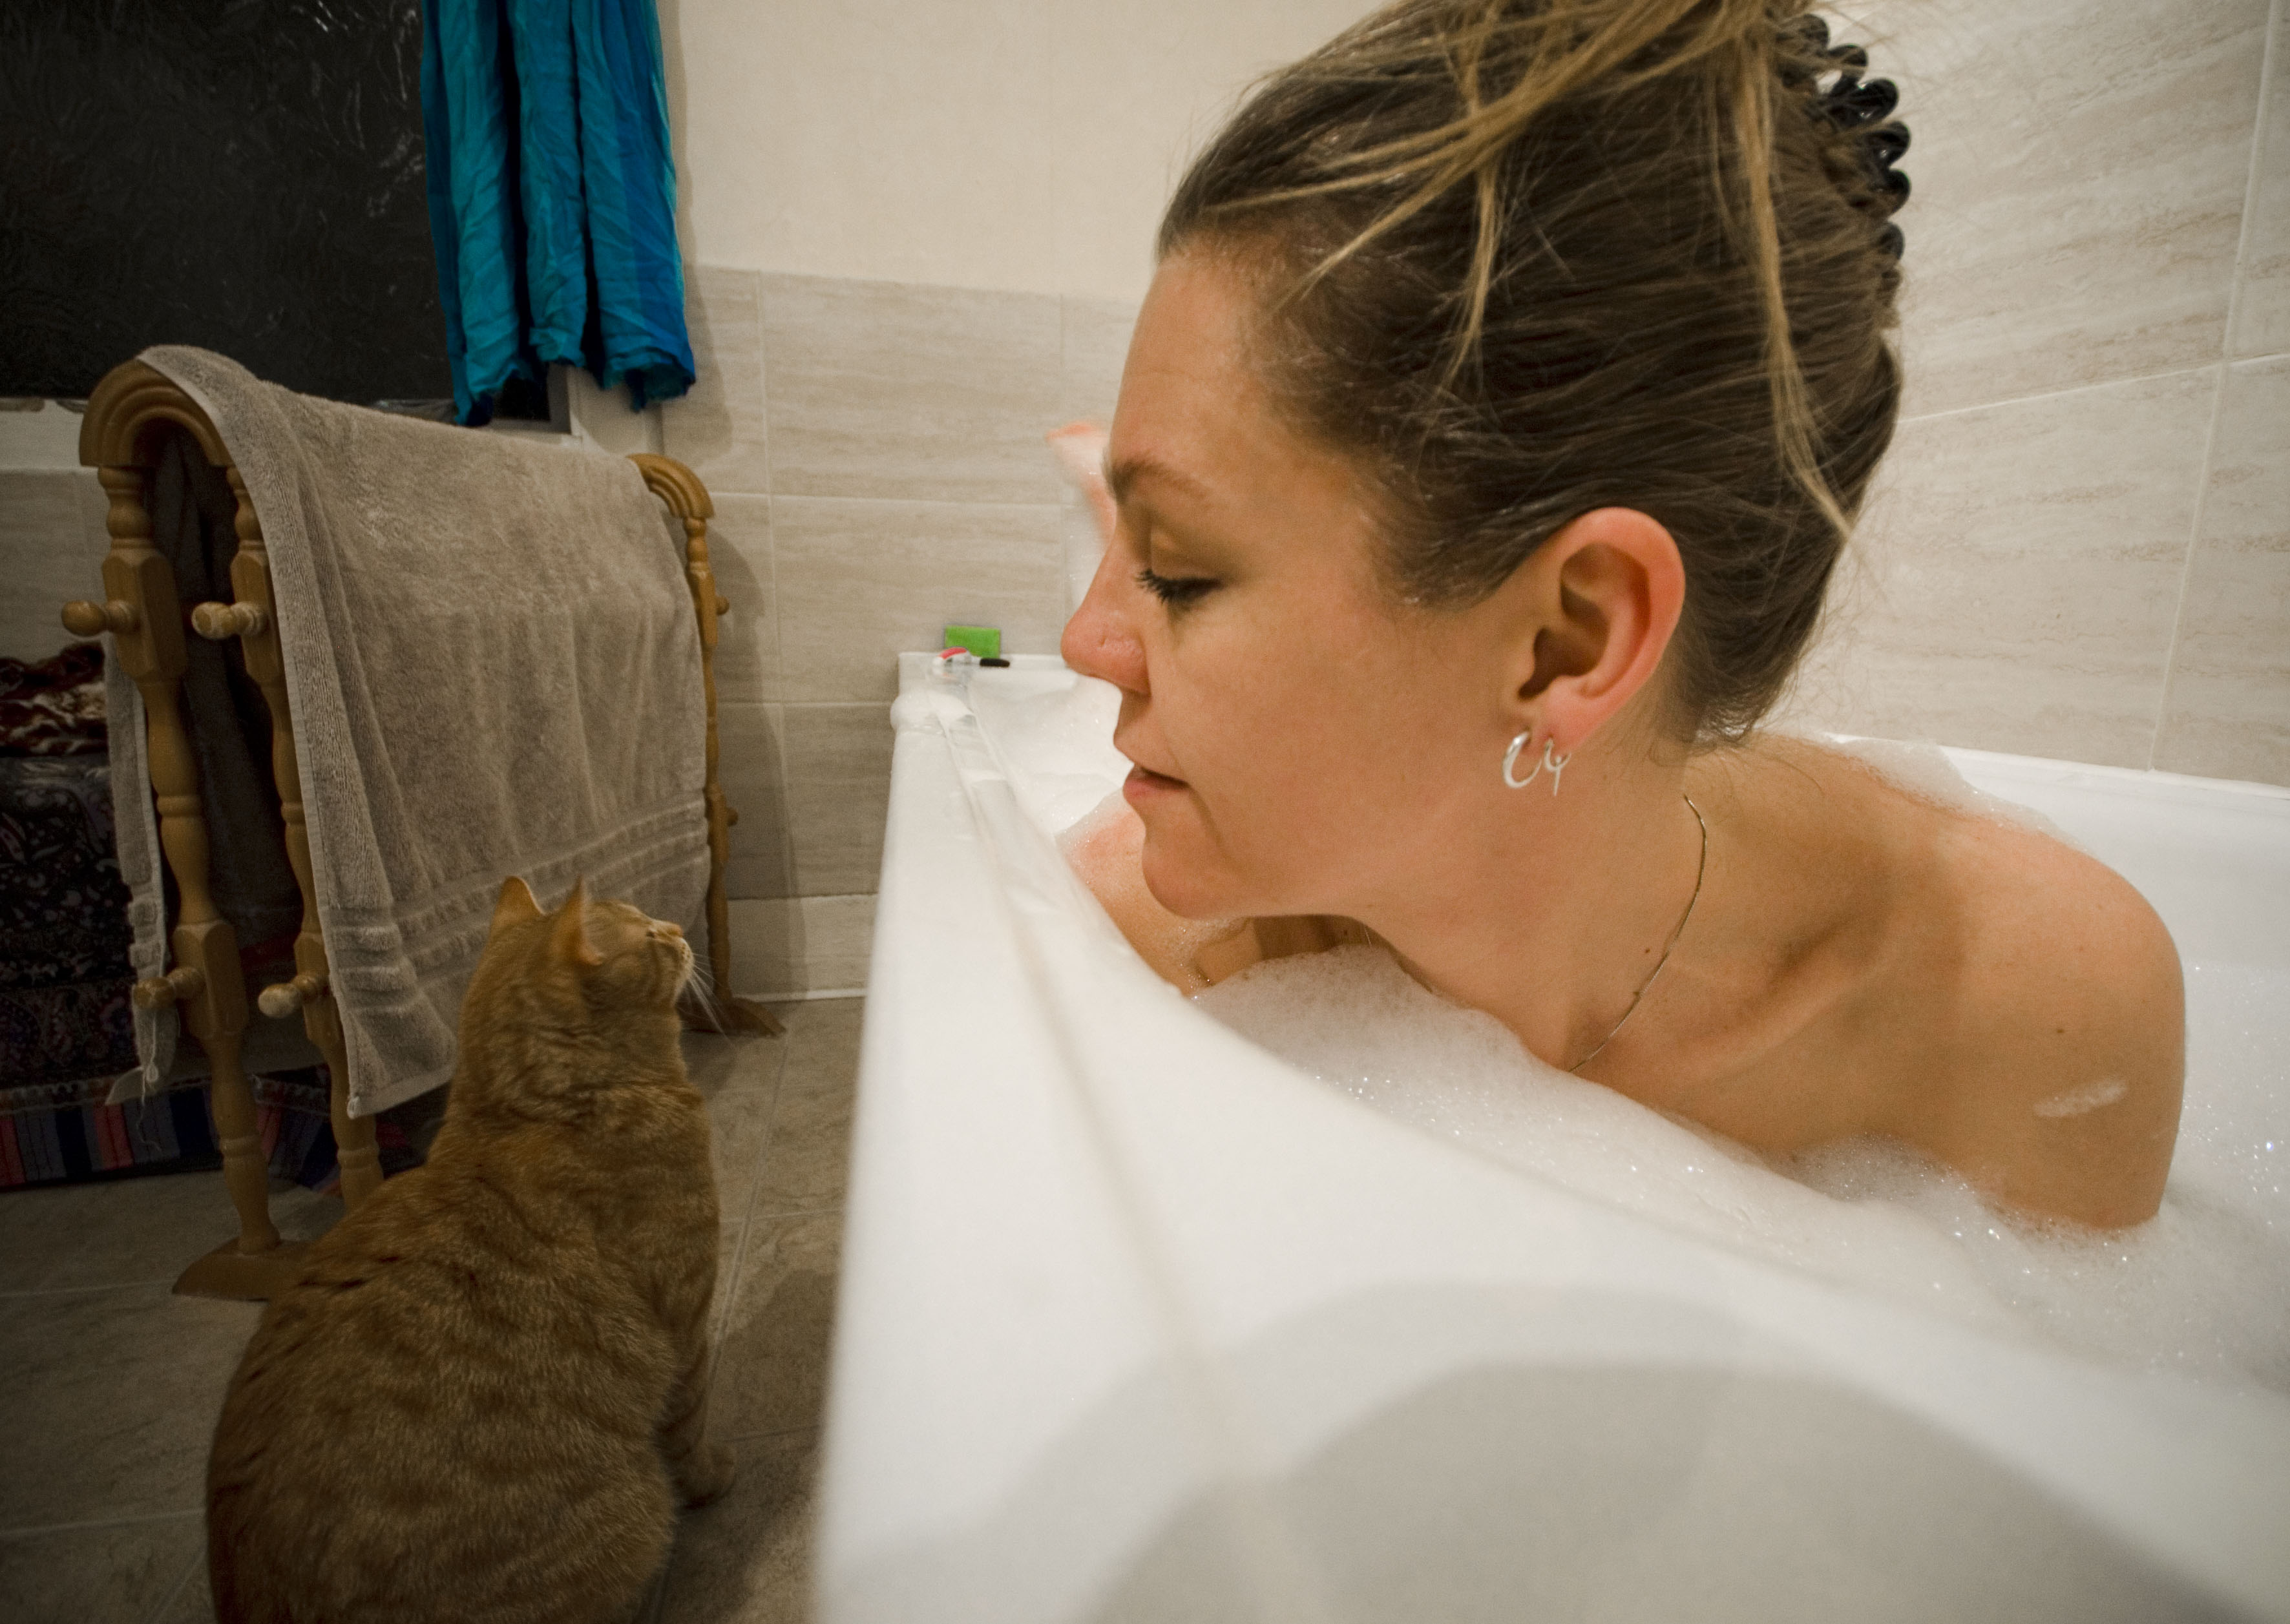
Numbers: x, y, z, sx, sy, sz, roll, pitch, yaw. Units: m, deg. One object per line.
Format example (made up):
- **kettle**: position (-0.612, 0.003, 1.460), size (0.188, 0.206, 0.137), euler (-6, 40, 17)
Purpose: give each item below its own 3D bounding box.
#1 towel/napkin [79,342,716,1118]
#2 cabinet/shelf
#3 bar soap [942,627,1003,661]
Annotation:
- **towel/napkin**: position (-1.011, -0.186, 2.289), size (0.372, 0.770, 0.997), euler (5, 9, 16)
- **cabinet/shelf**: position (-0.998, 0.038, 2.086), size (0.406, 1.209, 1.146), euler (11, 18, 26)
- **bar soap**: position (-0.332, -0.324, 3.009), size (0.086, 0.026, 0.084), euler (0, 58, 0)
